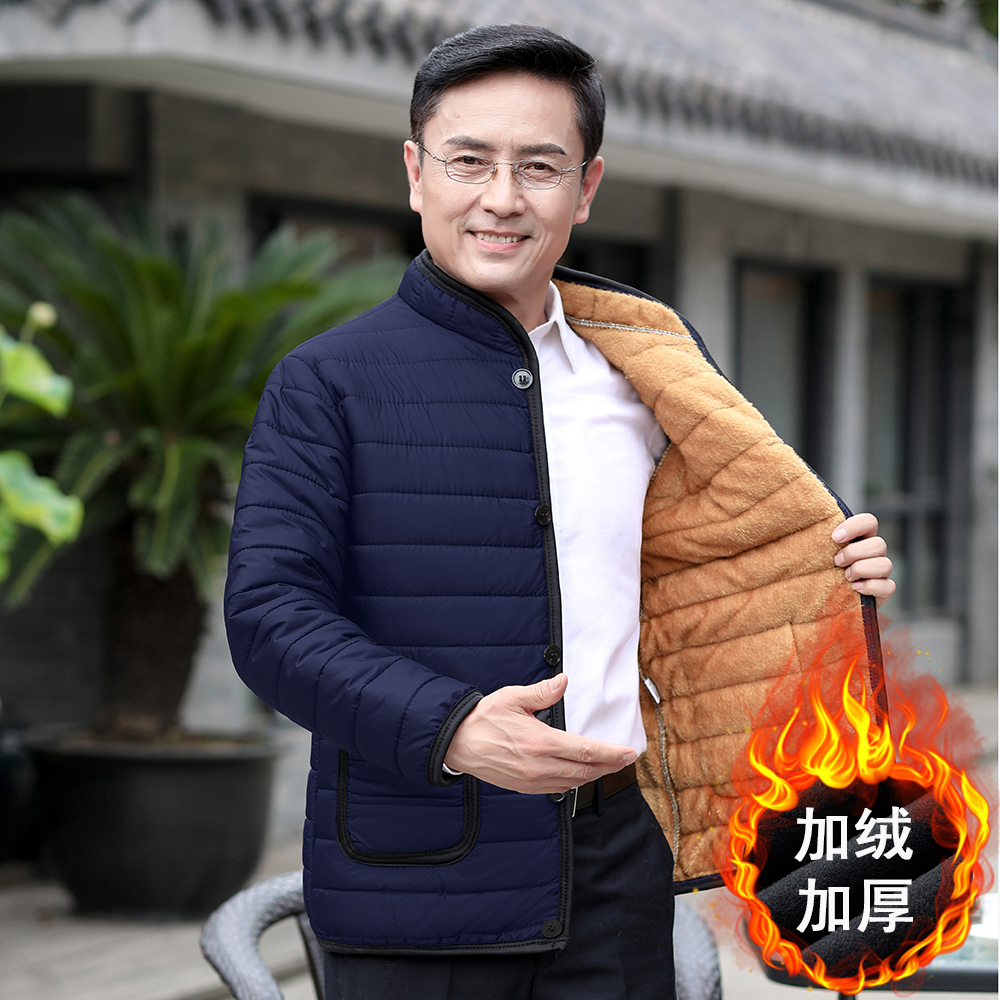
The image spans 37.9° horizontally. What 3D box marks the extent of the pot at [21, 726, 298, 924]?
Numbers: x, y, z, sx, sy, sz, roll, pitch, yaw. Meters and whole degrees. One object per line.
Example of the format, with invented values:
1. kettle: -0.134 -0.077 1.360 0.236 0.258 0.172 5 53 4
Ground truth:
1. pot: -1.233 1.117 4.885 0.964 0.469 0.916 -3 -17 -1
